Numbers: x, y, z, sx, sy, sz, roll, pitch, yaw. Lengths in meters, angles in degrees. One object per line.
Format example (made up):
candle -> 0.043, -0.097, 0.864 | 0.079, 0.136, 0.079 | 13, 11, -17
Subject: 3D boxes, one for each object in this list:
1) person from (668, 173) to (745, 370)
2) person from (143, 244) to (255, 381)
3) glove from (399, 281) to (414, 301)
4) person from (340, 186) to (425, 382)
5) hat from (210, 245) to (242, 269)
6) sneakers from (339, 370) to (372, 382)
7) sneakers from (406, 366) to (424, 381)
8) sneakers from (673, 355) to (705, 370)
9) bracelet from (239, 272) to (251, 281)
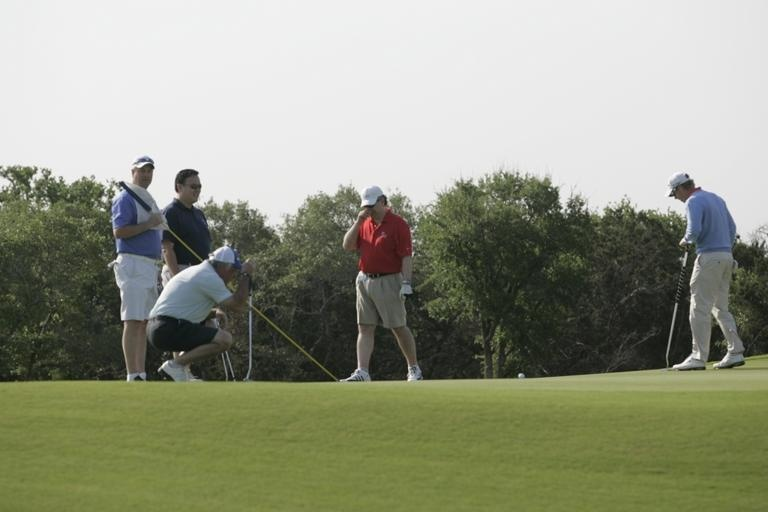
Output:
person -> 4.060, 0.177, 13.463 | 0.746, 2.471, 0.889 | -10, -10, 39
person -> -1.957, 0.603, 11.657 | 1.149, 1.505, 1.140 | 1, -9, -24
glove -> 0.292, 0.420, 13.183 | 0.188, 0.184, 0.146 | -7, -9, 32
person -> -0.039, 0.374, 13.283 | 0.897, 2.334, 0.852 | -5, -8, 10
hat -> -1.701, 0.005, 11.760 | 0.196, 0.164, 0.310 | 17, 15, 35
sneakers -> -0.307, 1.429, 12.922 | 0.447, 0.195, 0.153 | 2, -4, -7
sneakers -> 0.370, 1.450, 13.250 | 0.305, 0.206, 0.117 | 5, -8, -22
sneakers -> 3.799, 1.312, 13.254 | 0.487, 0.208, 0.166 | 2, -5, -2
bracelet -> -1.591, 0.232, 12.430 | 0.082, 0.085, 0.085 | 1, -4, -20
